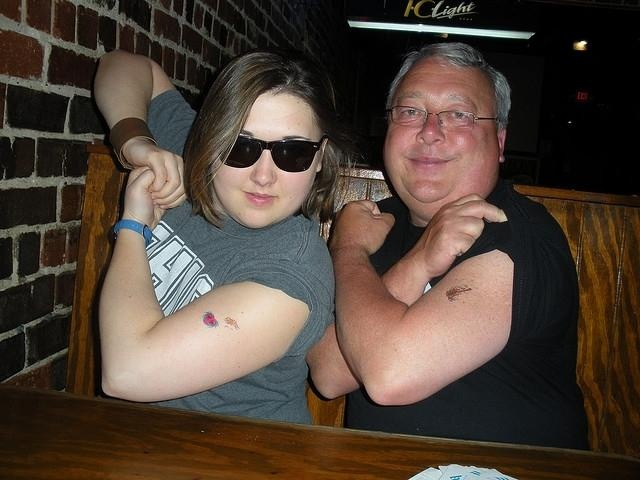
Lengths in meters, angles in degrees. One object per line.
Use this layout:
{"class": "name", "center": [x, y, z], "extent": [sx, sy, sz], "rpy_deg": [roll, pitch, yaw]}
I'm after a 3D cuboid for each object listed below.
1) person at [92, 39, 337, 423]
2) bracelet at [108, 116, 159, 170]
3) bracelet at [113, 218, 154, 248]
{"class": "person", "center": [-0.315, 0.014, 1.700], "extent": [0.720, 1.175, 0.698], "rpy_deg": [2, 27, -20]}
{"class": "bracelet", "center": [-0.695, -0.349, 1.989], "extent": [0.188, 0.196, 0.151], "rpy_deg": [-8, 40, -31]}
{"class": "bracelet", "center": [-0.612, -0.037, 1.741], "extent": [0.111, 0.087, 0.042], "rpy_deg": [34, 22, -25]}
